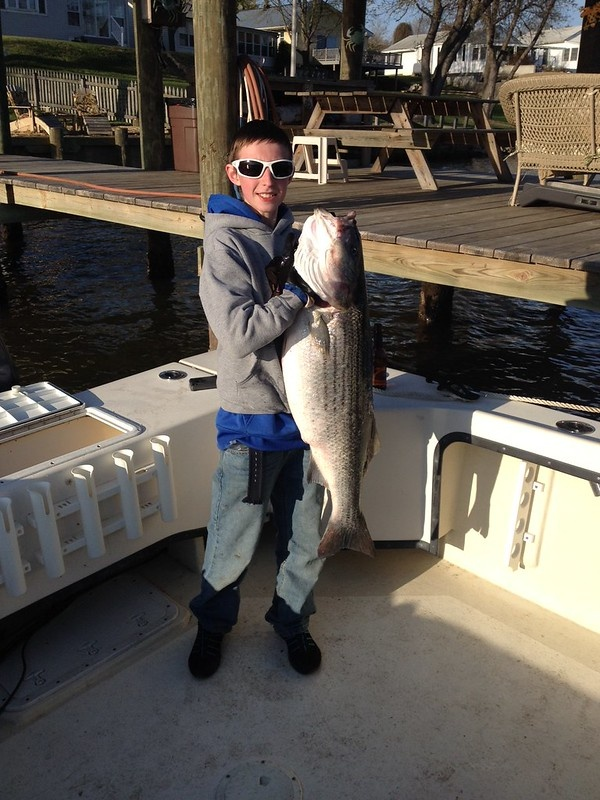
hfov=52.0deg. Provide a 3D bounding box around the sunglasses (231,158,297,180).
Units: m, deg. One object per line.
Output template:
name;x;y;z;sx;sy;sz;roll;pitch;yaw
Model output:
sunglasses;-0.107;-0.661;1.766;0.180;0.055;0.097;-2;20;-5

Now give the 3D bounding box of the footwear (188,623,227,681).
footwear;-0.339;0.885;2.230;0.107;0.095;0.275;3;14;6

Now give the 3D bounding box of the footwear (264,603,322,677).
footwear;-0.031;0.814;2.238;0.117;0.125;0.326;-18;48;-21

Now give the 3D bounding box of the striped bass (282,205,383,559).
striped bass;0.075;0.018;1.730;0.275;1.068;0.367;7;22;19
